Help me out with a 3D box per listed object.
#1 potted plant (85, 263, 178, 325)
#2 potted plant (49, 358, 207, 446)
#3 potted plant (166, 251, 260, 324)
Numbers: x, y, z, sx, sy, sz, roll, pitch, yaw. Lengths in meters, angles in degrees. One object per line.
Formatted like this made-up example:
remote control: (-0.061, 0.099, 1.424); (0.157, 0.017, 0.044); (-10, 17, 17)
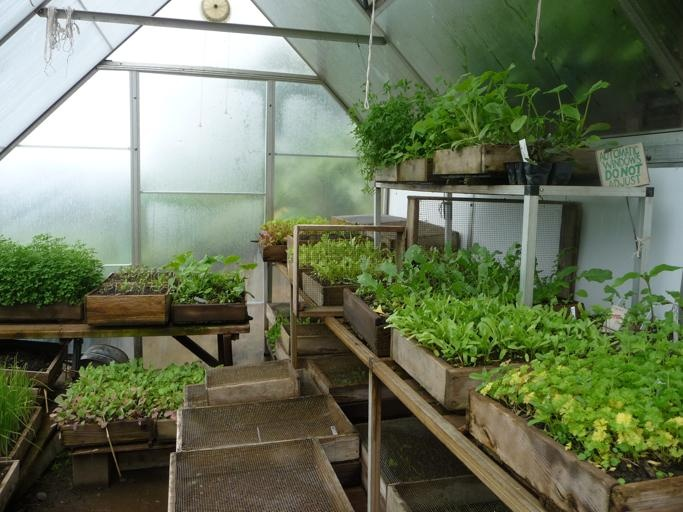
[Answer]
potted plant: (-1.749, 0.343, 4.463); (0.660, 0.440, 0.689); (-2, 4, -15)
potted plant: (-1.566, 1.016, 3.898); (0.669, 0.232, 0.716); (0, 8, -13)
potted plant: (-1.175, 0.206, 4.649); (0.730, 0.379, 0.796); (-5, 25, -14)
